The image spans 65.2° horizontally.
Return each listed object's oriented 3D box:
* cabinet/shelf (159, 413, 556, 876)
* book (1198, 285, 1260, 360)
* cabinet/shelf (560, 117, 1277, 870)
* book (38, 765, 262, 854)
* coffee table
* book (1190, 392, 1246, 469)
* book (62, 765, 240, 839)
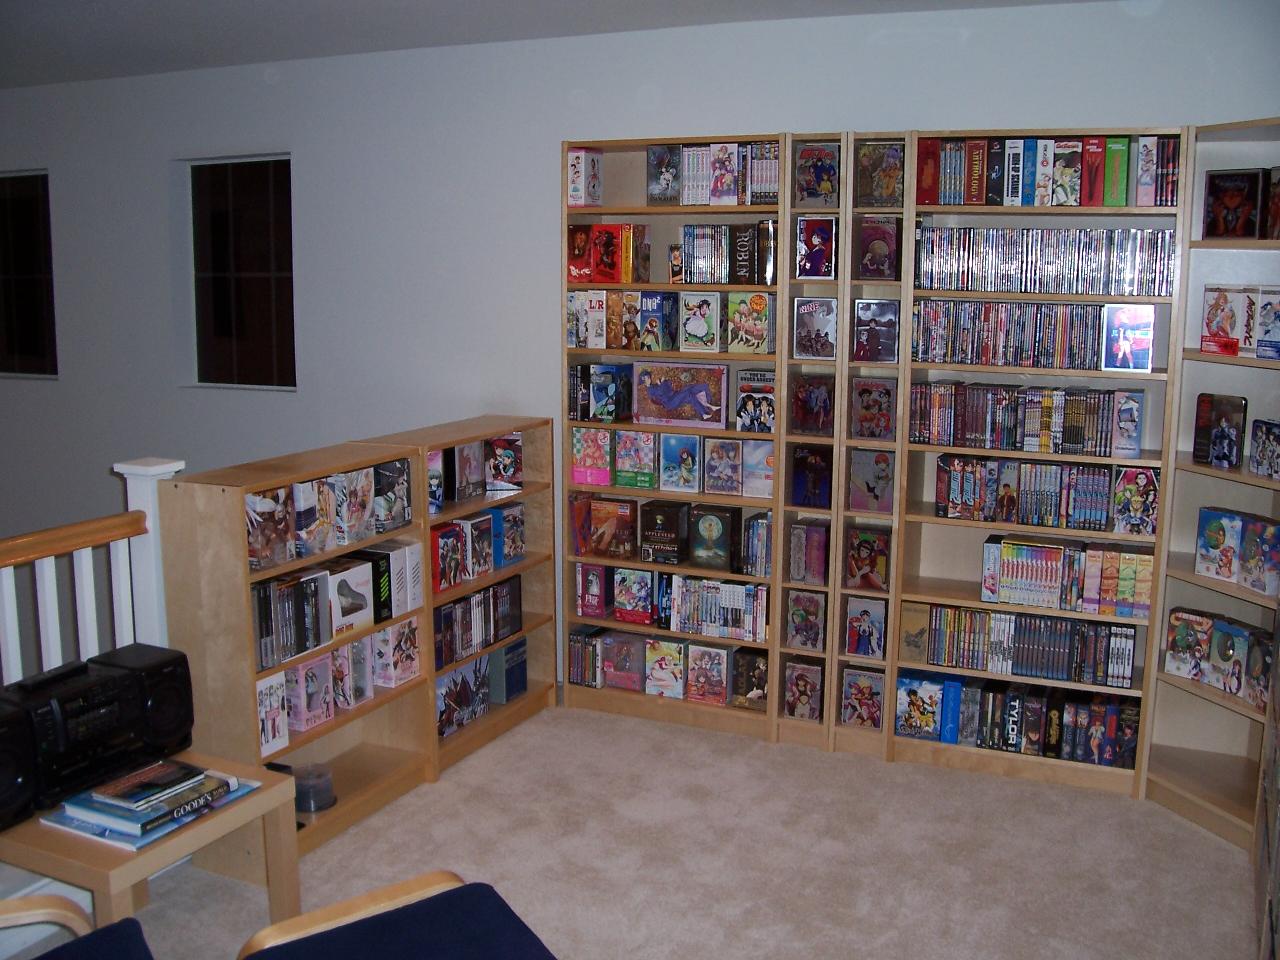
[{"bbox_3d":[-1.177,0.762,4.290,0.406,1.297,1.642,2,8,23],"label":"cabinet/shelf"},{"bbox_3d":[2.510,-0.666,4.243,0.103,0.340,0.327,-5,1,-8],"label":"book"},{"bbox_3d":[1.413,0.056,4.668,2.889,3.025,0.989,3,6,16],"label":"cabinet/shelf"},{"bbox_3d":[-1.584,1.039,3.169,0.273,0.063,0.293,8,12,25],"label":"book"},{"bbox_3d":[-1.599,1.157,3.257,0.622,0.509,0.645,2,5,32],"label":"coffee table"},{"bbox_3d":[2.514,-0.210,4.332,0.040,0.423,0.287,-3,6,-25],"label":"book"},{"bbox_3d":[-1.561,1.012,3.182,0.239,0.057,0.253,4,11,19],"label":"book"}]
